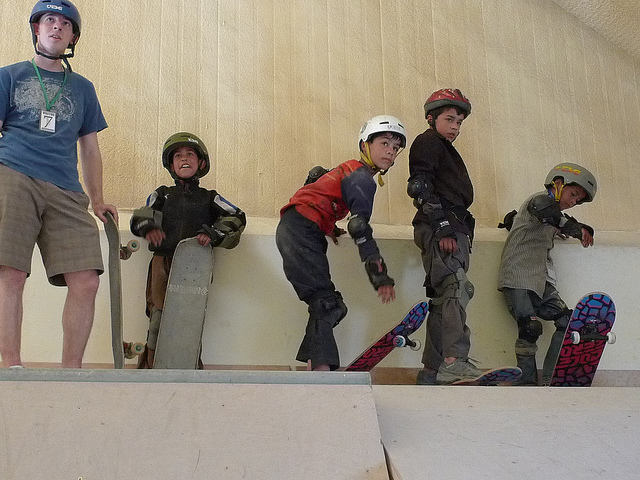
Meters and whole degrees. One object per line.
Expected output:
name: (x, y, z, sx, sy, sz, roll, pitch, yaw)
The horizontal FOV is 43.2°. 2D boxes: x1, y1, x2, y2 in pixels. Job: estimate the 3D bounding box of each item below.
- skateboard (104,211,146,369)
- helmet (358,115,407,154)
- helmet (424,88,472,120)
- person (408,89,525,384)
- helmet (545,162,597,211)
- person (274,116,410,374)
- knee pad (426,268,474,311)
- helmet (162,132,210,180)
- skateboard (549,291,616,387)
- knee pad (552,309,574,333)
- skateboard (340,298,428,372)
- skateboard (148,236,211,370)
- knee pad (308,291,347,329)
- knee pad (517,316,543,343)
skateboard: (-1.058, 0.303, 4.333, 0.116, 0.902, 0.190, 1, -4, -38)
helmet: (0.313, -0.624, 4.866, 0.146, 0.189, 0.190, 11, 14, -1)
helmet: (0.834, -0.843, 5.128, 0.246, 0.268, 0.209, -1, -7, -28)
person: (0.920, 0.033, 5.154, 0.719, 2.230, 0.860, -9, -30, 18)
helmet: (1.619, -0.388, 5.190, 0.273, 0.297, 0.235, 16, -21, 22)
person: (0.092, 0.012, 4.597, 0.714, 1.324, 1.154, 4, -1, 5)
knee pad: (0.755, 0.295, 4.695, 0.225, 0.196, 0.189, -21, 0, -18)
helmet: (-0.843, -0.542, 4.993, 0.204, 0.347, 0.259, 0, 8, -6)
skateboard: (1.568, 0.591, 4.771, 0.200, 0.951, 0.129, 5, 18, -3)
knee pad: (1.501, 0.495, 4.935, 0.082, 0.139, 0.096, 0, -5, 14)
skateboard: (0.366, 0.587, 4.878, 0.092, 0.540, 0.144, 27, -20, 54)
skateboard: (-0.784, 0.397, 4.587, 0.196, 1.038, 0.132, 6, -10, -16)
knee pad: (0.036, 0.392, 4.492, 0.159, 0.252, 0.225, 18, -8, -22)
knee pad: (1.286, 0.553, 4.932, 0.120, 0.190, 0.152, 7, -12, -25)
